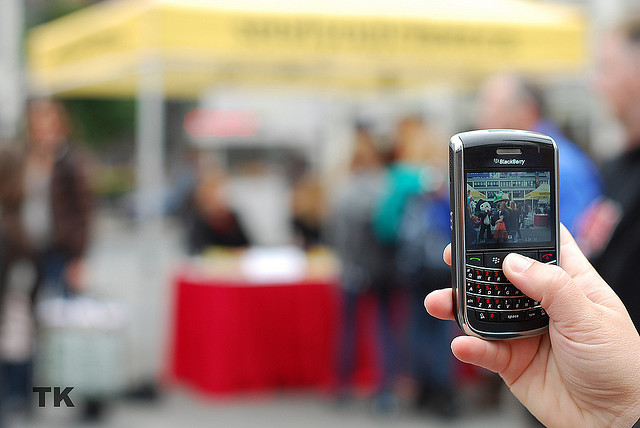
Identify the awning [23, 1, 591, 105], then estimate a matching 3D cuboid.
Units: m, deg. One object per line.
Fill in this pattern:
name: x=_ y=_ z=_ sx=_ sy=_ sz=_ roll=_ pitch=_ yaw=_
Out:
awning: x=-0.019 y=-0.404 z=1.795 sx=1.412 sy=0.280 sz=0.102 roll=-3 pitch=6 yaw=-2
